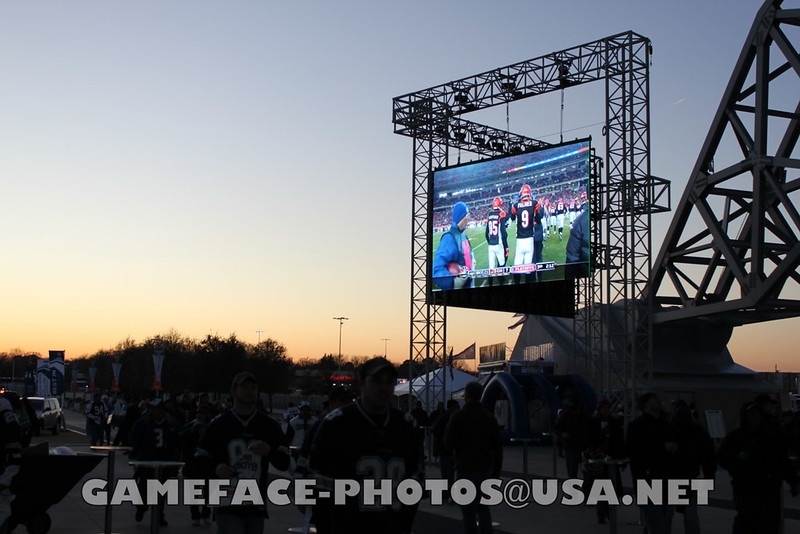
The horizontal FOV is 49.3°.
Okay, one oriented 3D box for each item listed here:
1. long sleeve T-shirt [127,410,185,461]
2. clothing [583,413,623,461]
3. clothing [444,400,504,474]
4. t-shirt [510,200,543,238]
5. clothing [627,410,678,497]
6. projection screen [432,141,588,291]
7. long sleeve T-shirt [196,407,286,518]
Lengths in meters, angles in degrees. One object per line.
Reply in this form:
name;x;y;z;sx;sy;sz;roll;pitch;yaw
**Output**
long sleeve T-shirt;-4.693;3.219;16.966;1.067;1.017;0.578;0;22;-22
clothing;4.200;3.447;17.576;0.681;0.913;0.502;-3;-2;25
clothing;1.232;2.927;14.400;0.976;1.222;0.709;4;-23;-6
t-shirt;5.108;-1.868;34.794;1.307;1.531;0.947;-5;-12;36
clothing;4.075;2.895;14.231;0.724;1.265;0.942;5;-23;-6
projection screen;4.483;-1.885;34.627;6.004;4.320;0.085;-8;-14;41
long sleeve T-shirt;-2.051;2.510;11.466;1.129;1.344;0.711;1;13;-8
